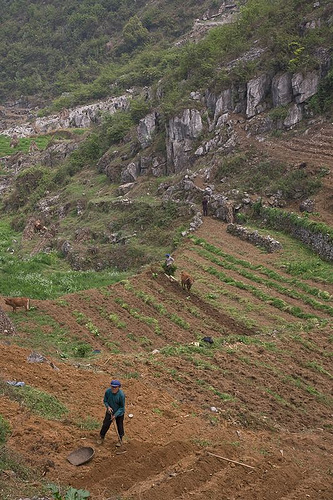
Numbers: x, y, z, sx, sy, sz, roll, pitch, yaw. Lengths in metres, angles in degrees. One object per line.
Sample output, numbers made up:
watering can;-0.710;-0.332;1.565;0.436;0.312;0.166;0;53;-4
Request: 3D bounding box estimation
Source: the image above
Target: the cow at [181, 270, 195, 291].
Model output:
cow;1.398;1.995;57.751;0.814;1.200;1.818;-3;8;1
